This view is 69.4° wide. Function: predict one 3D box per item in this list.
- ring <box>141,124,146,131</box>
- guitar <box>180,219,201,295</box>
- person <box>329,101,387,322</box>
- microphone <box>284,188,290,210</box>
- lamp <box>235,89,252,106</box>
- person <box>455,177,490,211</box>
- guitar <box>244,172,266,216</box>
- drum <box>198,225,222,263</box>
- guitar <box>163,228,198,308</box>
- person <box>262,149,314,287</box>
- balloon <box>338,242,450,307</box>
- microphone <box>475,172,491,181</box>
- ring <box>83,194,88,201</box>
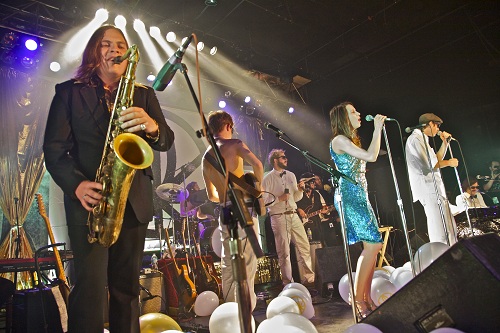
[{"bbox_3d":[-1.239,-0.464,4.194,0.048,0.052,0.037,-4,-13,18],"label":"ring"},{"bbox_3d":[-1.312,1.931,7.170,0.140,1.455,0.536,-9,5,-44],"label":"guitar"},{"bbox_3d":[1.690,0.497,5.540,0.770,3.419,0.744,-8,-17,13],"label":"person"},{"bbox_3d":[0.852,0.731,8.359,0.145,0.479,0.123,1,-8,3],"label":"microphone"},{"bbox_3d":[-0.265,-2.621,13.451,0.409,0.288,0.814,-19,-22,39],"label":"lamp"},{"bbox_3d":[6.733,1.129,10.922,0.808,1.483,0.812,1,-8,17],"label":"person"},{"bbox_3d":[0.052,0.369,5.175,0.270,0.649,0.321,-6,-17,6],"label":"guitar"},{"bbox_3d":[-1.070,2.130,9.531,0.636,1.191,1.178,-3,2,-7],"label":"drum"},{"bbox_3d":[-1.458,2.178,7.632,0.573,1.504,0.192,-35,-31,16],"label":"guitar"},{"bbox_3d":[0.933,1.081,8.540,1.153,3.345,0.754,12,-22,-43],"label":"person"},{"bbox_3d":[2.120,1.650,5.482,1.121,0.447,1.156,-26,-15,-7],"label":"balloon"},{"bbox_3d":[7.444,0.335,11.507,0.199,0.226,0.507,-38,15,-11],"label":"microphone"},{"bbox_3d":[-1.821,0.333,3.995,0.044,0.049,0.011,1,-1,-3],"label":"ring"}]
